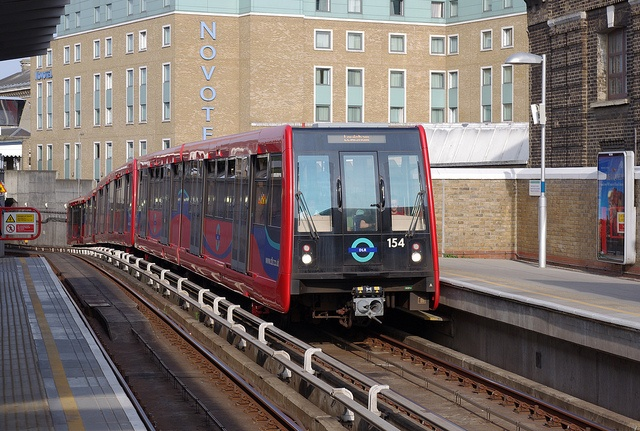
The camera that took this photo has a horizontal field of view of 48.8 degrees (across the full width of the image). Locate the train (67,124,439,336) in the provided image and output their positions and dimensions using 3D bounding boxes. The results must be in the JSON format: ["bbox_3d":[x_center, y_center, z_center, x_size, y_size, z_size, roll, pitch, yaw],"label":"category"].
[{"bbox_3d":[-3.847,0.006,25.987,3.594,5.279,23.988,0,1,-22],"label":"train"}]
